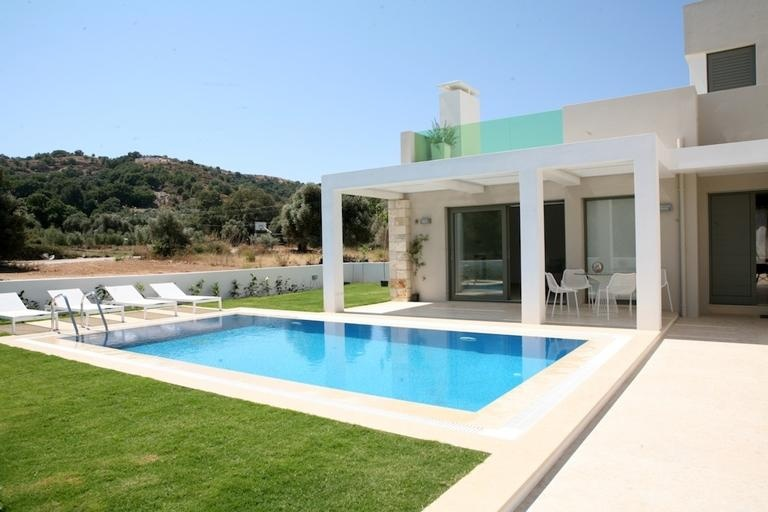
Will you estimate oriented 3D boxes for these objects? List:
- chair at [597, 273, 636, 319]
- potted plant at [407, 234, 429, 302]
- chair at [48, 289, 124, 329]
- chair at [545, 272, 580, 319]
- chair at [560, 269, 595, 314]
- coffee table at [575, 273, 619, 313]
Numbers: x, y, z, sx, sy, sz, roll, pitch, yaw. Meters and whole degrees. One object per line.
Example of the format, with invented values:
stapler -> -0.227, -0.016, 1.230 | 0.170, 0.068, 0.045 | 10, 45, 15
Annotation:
chair -> 5.690, 0.861, 12.473 | 0.847, 1.219, 2.914 | 3, 8, 25
potted plant -> 1.036, 0.352, 15.977 | 0.581, 2.076, 0.379 | 0, 8, 2
chair -> -7.188, 1.193, 12.267 | 1.392, 0.943, 2.699 | -5, 9, -33
chair -> 4.526, 1.017, 13.105 | 1.110, 1.518, 1.096 | -2, 0, 21
chair -> 4.696, 0.832, 12.479 | 0.828, 1.054, 0.844 | -5, -3, 37
coffee table -> 5.400, 0.947, 12.974 | 0.811, 1.089, 0.715 | -14, 13, -35
